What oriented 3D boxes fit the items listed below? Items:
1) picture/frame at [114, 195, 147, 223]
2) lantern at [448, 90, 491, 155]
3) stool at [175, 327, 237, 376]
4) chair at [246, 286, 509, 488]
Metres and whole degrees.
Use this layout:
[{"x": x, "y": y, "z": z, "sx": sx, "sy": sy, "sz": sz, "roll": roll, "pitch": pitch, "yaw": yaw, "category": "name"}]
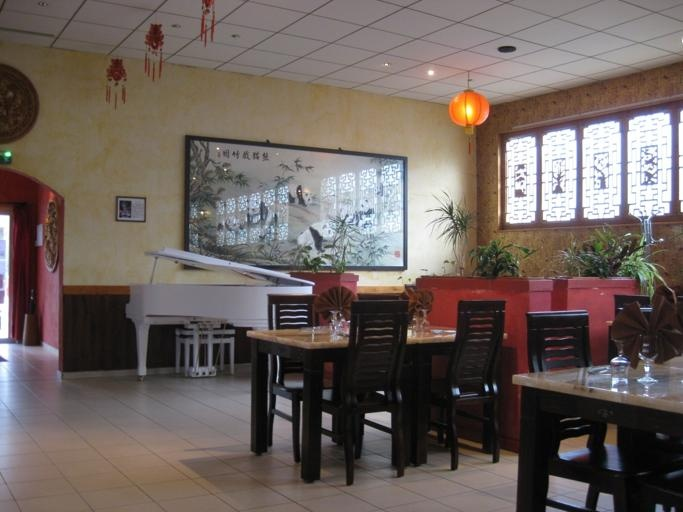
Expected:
[{"x": -3.054, "y": -0.673, "z": 8.051, "sx": 0.406, "sy": 0.398, "sz": 0.027, "roll": 1, "pitch": -1, "yaw": -27, "category": "picture/frame"}, {"x": 1.817, "y": -2.033, "z": 7.927, "sx": 0.399, "sy": 0.680, "sz": 0.394, "roll": 1, "pitch": -1, "yaw": -31, "category": "lantern"}, {"x": -1.926, "y": 1.367, "z": 8.219, "sx": 1.017, "sy": 0.859, "sz": 0.696, "roll": 2, "pitch": -3, "yaw": -24, "category": "stool"}, {"x": 0.113, "y": 1.015, "z": 4.559, "sx": 1.718, "sy": 0.909, "sz": 0.983, "roll": 1, "pitch": -1, "yaw": -11, "category": "chair"}]
